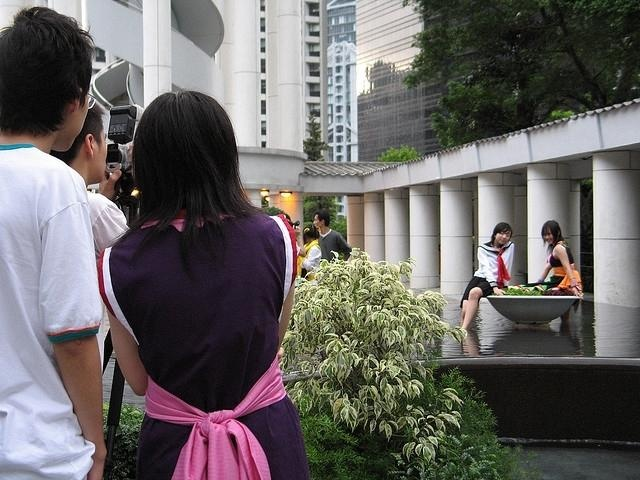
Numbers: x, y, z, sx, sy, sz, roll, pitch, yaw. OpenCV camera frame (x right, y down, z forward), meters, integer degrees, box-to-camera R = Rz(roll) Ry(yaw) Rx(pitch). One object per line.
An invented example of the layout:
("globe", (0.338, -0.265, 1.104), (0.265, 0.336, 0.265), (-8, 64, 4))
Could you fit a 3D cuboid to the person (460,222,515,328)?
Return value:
("person", (2.911, 0.575, 9.574), (1.081, 1.669, 0.454), (-2, 3, -23))
